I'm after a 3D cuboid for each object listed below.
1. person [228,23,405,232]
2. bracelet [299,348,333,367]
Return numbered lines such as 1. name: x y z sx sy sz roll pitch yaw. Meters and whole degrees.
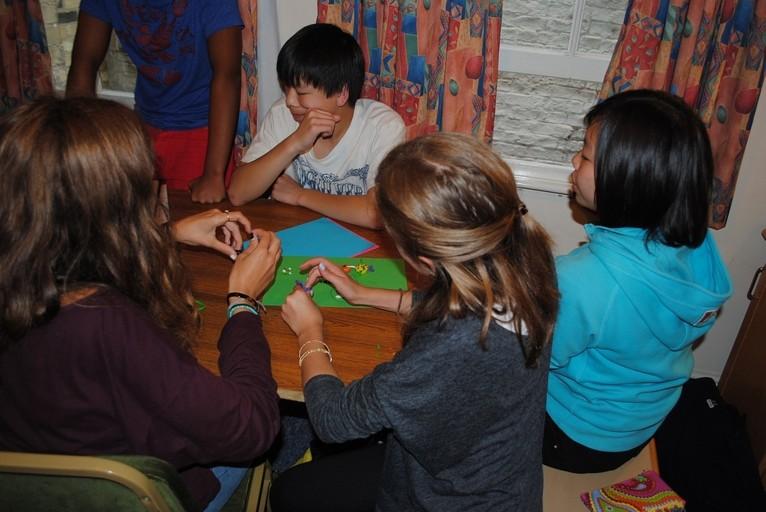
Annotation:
1. person: -0.298 -0.519 2.461 0.741 1.028 0.616 4 37 -1
2. bracelet: -0.200 0.310 1.584 0.058 0.075 0.028 -4 -12 1
